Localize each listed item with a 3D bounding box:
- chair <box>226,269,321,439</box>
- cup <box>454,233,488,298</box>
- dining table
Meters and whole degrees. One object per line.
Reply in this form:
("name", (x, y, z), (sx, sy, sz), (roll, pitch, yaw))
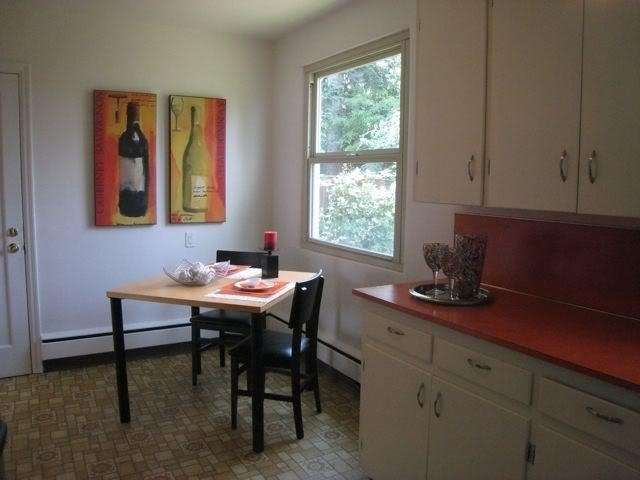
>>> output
("chair", (-0.289, 0.713, 3.271), (0.654, 0.986, 0.682), (1, 6, -24))
("cup", (0.772, 0.131, 2.546), (0.153, 0.307, 0.151), (1, 12, 0))
("dining table", (-1.109, 0.759, 3.630), (0.994, 0.744, 1.017), (0, -5, -39))
